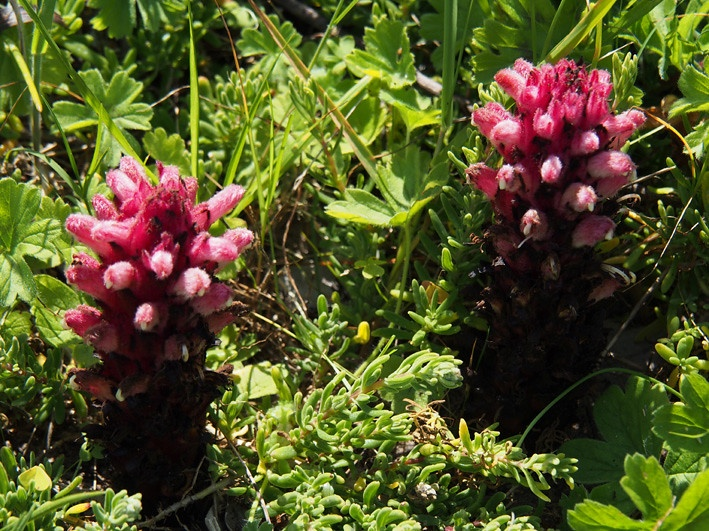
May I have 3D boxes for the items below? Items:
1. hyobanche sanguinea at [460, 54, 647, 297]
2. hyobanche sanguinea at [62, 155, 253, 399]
[{"bbox_3d":[0.680,-0.396,3.012,0.708,1.014,0.709,0,19,10],"label":"hyobanche sanguinea"},{"bbox_3d":[-0.636,0.107,2.621,0.575,0.792,0.509,-16,28,-18],"label":"hyobanche sanguinea"}]
